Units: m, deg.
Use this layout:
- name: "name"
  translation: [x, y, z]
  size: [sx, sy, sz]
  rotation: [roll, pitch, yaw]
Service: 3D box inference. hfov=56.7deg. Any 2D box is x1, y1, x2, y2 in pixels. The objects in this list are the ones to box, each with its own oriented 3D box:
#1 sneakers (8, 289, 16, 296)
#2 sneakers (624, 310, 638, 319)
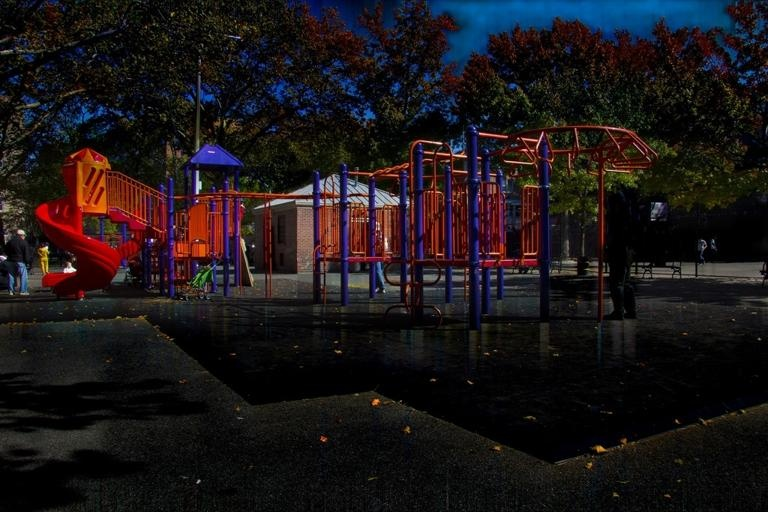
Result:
- name: "sneakers"
  translation: [-12.296, 1.181, 23.450]
  size: [0.186, 0.210, 0.538]
  rotation: [1, -3, -39]
- name: "sneakers"
  translation: [5.680, 1.333, 16.319]
  size: [0.243, 0.134, 0.222]
  rotation: [0, 0, -24]
